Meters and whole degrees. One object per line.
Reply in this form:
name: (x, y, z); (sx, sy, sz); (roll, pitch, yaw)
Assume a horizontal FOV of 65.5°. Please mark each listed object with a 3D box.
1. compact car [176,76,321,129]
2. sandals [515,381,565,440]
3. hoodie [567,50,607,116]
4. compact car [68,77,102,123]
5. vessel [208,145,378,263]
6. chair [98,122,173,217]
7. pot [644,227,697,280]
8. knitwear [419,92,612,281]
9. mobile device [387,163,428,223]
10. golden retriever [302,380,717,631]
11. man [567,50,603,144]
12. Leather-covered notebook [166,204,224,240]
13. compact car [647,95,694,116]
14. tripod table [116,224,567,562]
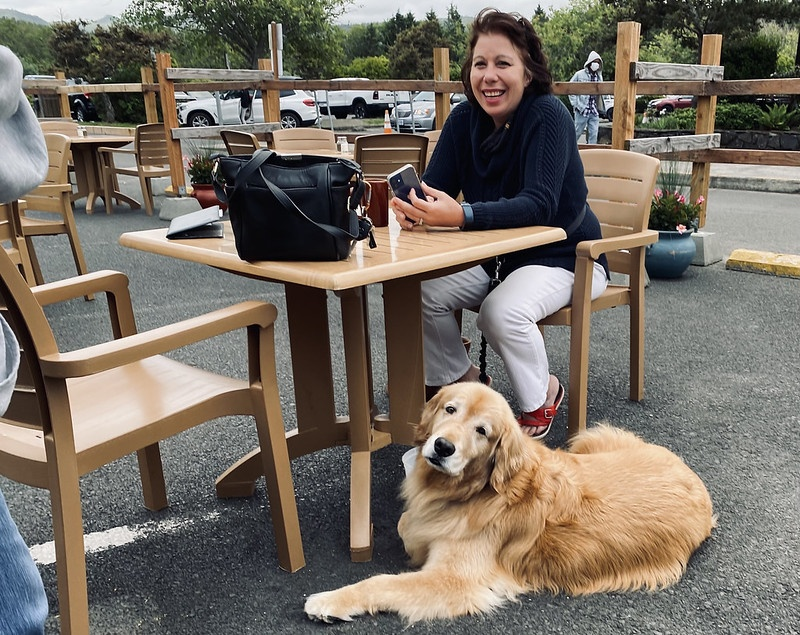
compact car: (-5.228, -7.108, 21.263); (4.475, 1.196, 2.109); (1, 21, 6)
sandals: (0.667, 0.543, 3.043); (0.094, 0.415, 0.149); (13, 12, -35)
hoodie: (3.982, -4.892, 13.138); (0.731, 1.420, 0.575); (-1, 9, -7)
compact car: (-12.326, -8.177, 24.189); (0.660, 0.991, 2.513); (-14, 24, -32)
vessel: (-0.366, -0.371, 2.130); (0.570, 0.467, 0.350); (0, 16, 4)
chair: (-4.252, -2.364, 9.616); (0.884, 1.265, 0.962); (-15, 29, -41)
pot: (2.460, -0.580, 5.718); (0.499, 0.425, 0.539); (1, 14, 0)
knitwear: (0.565, -0.749, 3.236); (0.780, 0.977, 0.840); (-11, 16, -32)
mobile device: (0.033, -0.533, 2.717); (0.134, 0.259, 0.032); (-23, -26, 12)
golden retriever: (0.482, 0.700, 2.419); (1.173, 0.690, 0.818); (-1, 8, -4)
man: (3.988, -4.560, 13.247); (0.777, 2.199, 0.695); (12, 40, 25)
Leather-covered notebook: (-0.863, -0.389, 2.620); (0.157, 0.073, 0.230); (4, 22, -5)
compact car: (12.039, -9.655, 27.903); (1.660, 0.645, 5.931); (6, 23, 19)
tripod table: (-0.148, 0.134, 2.813); (1.402, 1.416, 1.484); (16, 27, 37)
